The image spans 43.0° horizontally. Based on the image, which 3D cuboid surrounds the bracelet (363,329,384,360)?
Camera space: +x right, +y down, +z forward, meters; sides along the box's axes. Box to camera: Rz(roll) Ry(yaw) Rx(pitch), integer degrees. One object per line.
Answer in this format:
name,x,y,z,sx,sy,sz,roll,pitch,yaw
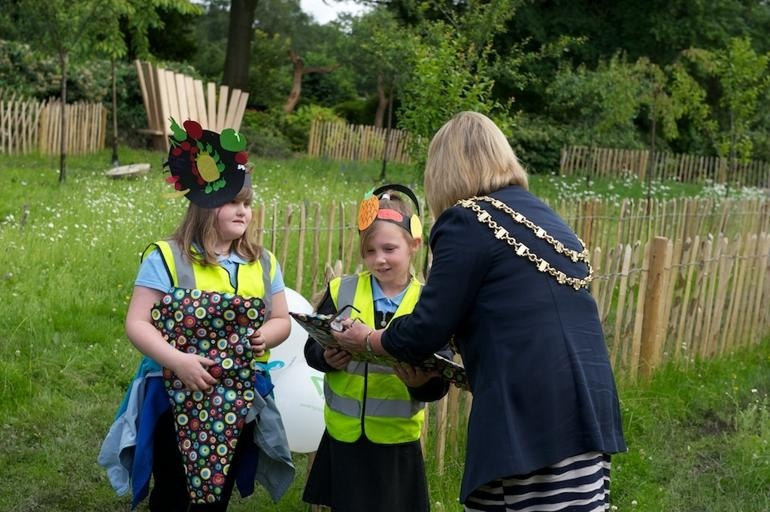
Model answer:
bracelet,-0.147,1.142,12.345,0.137,0.338,0.352,-10,7,-8
